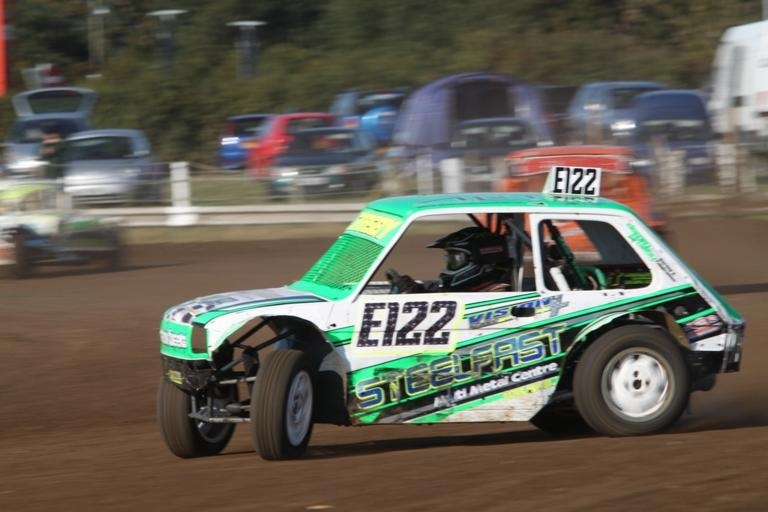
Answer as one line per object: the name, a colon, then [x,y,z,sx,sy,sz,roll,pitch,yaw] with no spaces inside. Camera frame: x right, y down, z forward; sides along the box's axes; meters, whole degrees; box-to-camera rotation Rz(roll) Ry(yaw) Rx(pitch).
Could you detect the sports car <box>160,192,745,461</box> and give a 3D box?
sports car: [0.552,0.493,8.580,5.469,1.175,2.249,0,-2,-6]
